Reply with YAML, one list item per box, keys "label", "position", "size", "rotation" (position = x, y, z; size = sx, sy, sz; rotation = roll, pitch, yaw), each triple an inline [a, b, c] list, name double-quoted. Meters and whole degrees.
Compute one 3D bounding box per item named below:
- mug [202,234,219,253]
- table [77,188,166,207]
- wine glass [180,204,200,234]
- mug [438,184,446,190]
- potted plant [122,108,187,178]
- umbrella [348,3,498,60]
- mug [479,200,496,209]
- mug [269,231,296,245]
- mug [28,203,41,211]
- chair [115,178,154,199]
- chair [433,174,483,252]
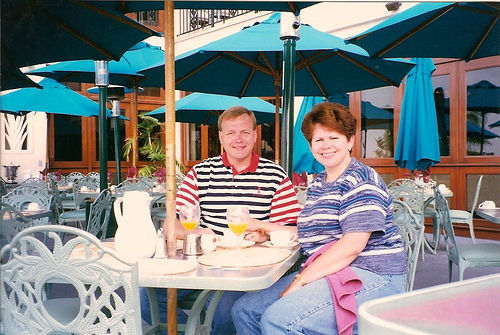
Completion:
- label: "mug"
  position: [-0.237, 0.426, 2.707]
  size: [0.082, 0.074, 0.089]
  rotation: [1, -12, -8]
- label: "table"
  position: [-1.670, 0.381, 6.155]
  size: [1.106, 0.224, 1.021]
  rotation: [0, -2, -20]
- label: "wine glass"
  position: [-0.334, 0.285, 2.651]
  size: [0.113, 0.192, 0.125]
  rotation: [1, -3, 2]
- label: "mug"
  position: [2.572, 0.256, 6.423]
  size: [0.126, 0.083, 0.123]
  rotation: [0, -2, -43]
- label: "potted plant"
  position: [-2.140, -0.374, 10.314]
  size: [1.156, 1.845, 1.287]
  rotation: [-4, -4, -31]
- label: "umbrella"
  position: [1.671, -1.257, 4.265]
  size: [1.398, 0.408, 0.789]
  rotation: [0, -2, -18]
- label: "mug"
  position: [2.445, 0.380, 4.906]
  size: [0.149, 0.105, 0.110]
  rotation: [0, -2, 30]
- label: "mug"
  position: [0.177, 0.417, 2.843]
  size: [0.106, 0.051, 0.086]
  rotation: [3, -3, 1]
- label: "mug"
  position: [-2.138, 0.381, 4.686]
  size: [0.110, 0.063, 0.131]
  rotation: [1, -2, -28]
- label: "chair"
  position: [-1.465, 0.228, 5.923]
  size: [0.407, 0.191, 0.405]
  rotation: [0, -3, -5]
- label: "chair"
  position: [2.698, 0.841, 6.166]
  size: [0.458, 0.400, 0.737]
  rotation: [14, -11, 33]
